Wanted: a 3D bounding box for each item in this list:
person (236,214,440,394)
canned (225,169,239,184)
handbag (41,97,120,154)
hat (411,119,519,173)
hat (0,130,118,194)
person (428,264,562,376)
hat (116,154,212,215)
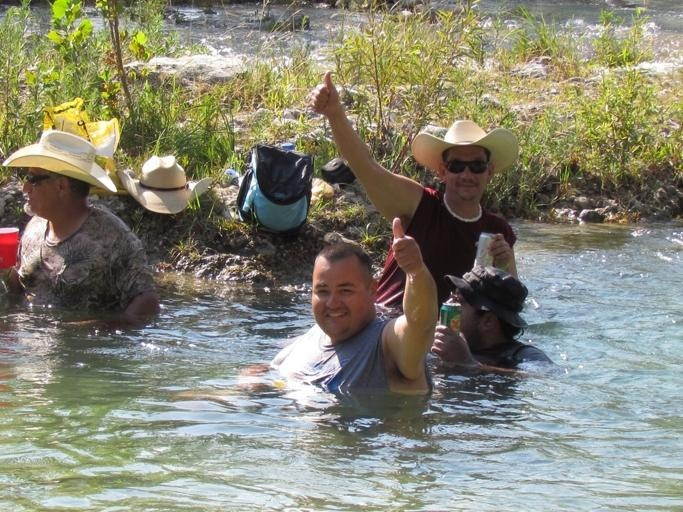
[{"bbox_3d":[0.075,0.373,5.996,0.966,1.030,1.786,6,-3,-41],"label":"person"},{"bbox_3d":[-1.289,-0.931,10.435,0.154,0.083,0.203,10,-7,42],"label":"canned"},{"bbox_3d":[-2.396,-1.179,8.205,0.848,0.395,0.594,5,36,-23],"label":"handbag"},{"bbox_3d":[1.078,-0.963,7.682,0.947,0.282,0.786,2,-18,-3],"label":"hat"},{"bbox_3d":[-2.232,-0.738,7.184,0.697,0.283,0.581,23,-5,-6],"label":"hat"},{"bbox_3d":[1.134,0.496,6.840,0.783,0.560,1.297,20,-4,-41],"label":"person"},{"bbox_3d":[-1.928,-0.874,9.725,0.973,0.318,0.901,-2,19,-7],"label":"hat"}]
